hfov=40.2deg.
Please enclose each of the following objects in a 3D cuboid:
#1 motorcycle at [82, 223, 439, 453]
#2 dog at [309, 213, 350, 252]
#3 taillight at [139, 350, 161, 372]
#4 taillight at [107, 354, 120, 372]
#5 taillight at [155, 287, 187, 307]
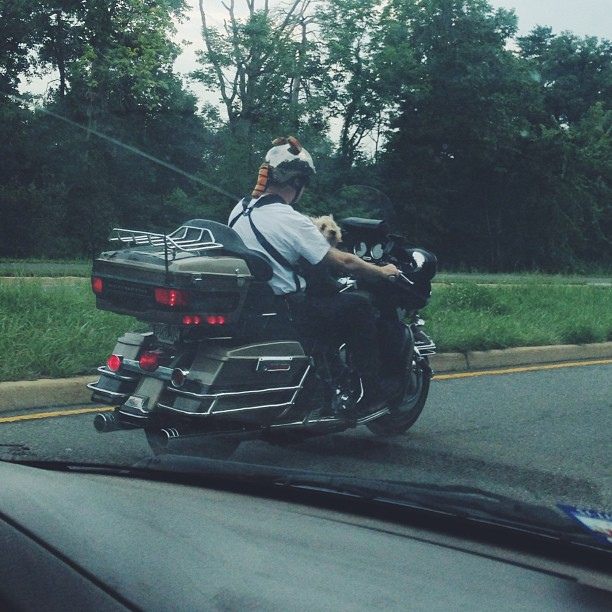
[{"bbox_3d":[-0.009,0.181,5.313,1.323,1.331,2.983,5,2,38],"label":"motorcycle"},{"bbox_3d":[0.154,-0.467,5.288,0.188,0.132,0.319,-19,8,29],"label":"dog"},{"bbox_3d":[-0.800,0.292,4.355,0.085,0.099,0.133,-4,8,-39],"label":"taillight"},{"bbox_3d":[-1.050,0.313,4.566,0.076,0.077,0.038,1,2,39],"label":"taillight"},{"bbox_3d":[-0.656,-0.041,4.084,0.123,0.056,0.108,2,-1,-20],"label":"taillight"}]
